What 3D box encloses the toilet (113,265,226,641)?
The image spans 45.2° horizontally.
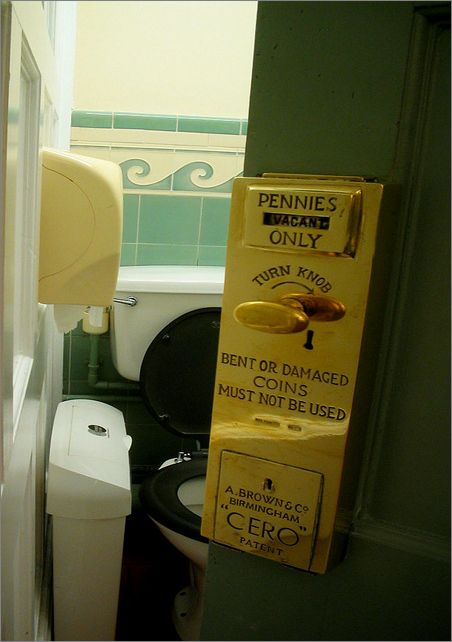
[{"bbox_3d":[-0.181,0.314,1.392,0.299,0.810,0.721,4,16,-4],"label":"toilet"}]

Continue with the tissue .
[{"bbox_3d":[-0.242,-0.145,0.890,0.129,0.249,0.058,-2,18,-25],"label":"tissue "}]
